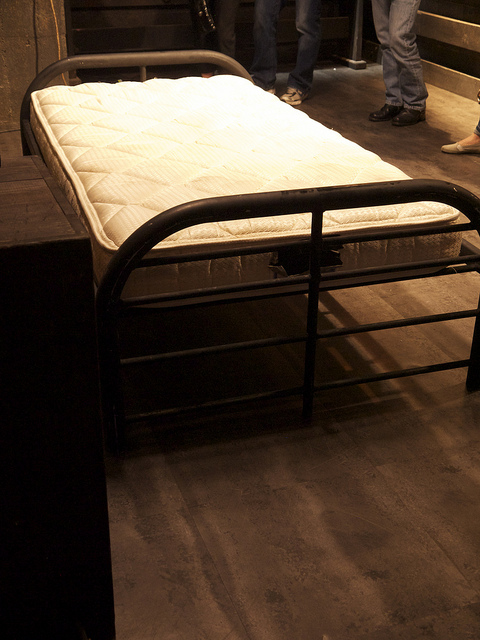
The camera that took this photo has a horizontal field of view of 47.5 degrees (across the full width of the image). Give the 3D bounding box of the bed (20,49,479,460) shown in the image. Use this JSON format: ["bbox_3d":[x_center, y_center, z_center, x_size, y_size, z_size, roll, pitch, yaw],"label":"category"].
[{"bbox_3d":[-0.149,-0.429,1.993,1.014,0.699,1.786,-9,36,-16],"label":"bed"}]

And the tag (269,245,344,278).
[{"bbox_3d":[0.157,-0.159,1.324,0.124,0.045,0.090,-7,15,-14],"label":"tag"}]
